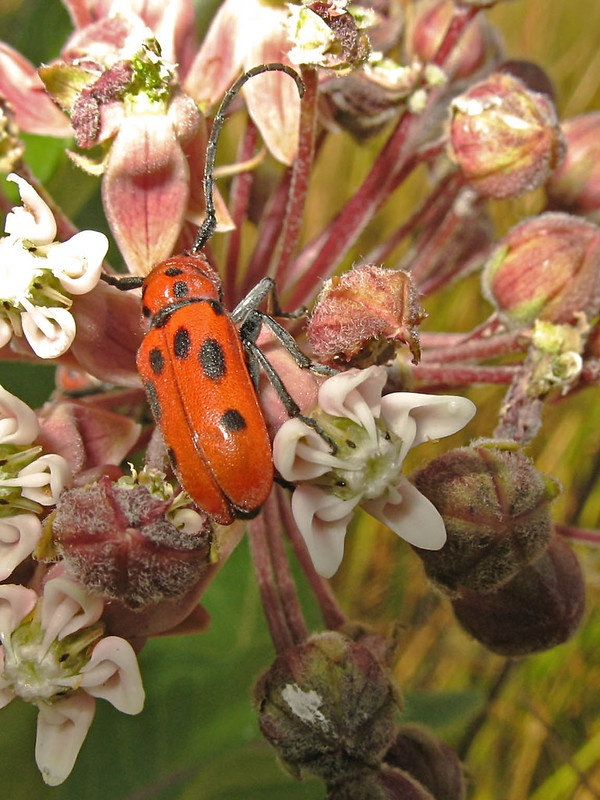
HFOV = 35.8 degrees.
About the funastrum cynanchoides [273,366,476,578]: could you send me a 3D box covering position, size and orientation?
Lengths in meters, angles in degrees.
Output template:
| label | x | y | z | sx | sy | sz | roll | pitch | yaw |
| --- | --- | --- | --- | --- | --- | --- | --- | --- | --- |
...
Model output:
| label | x | y | z | sx | sy | sz | roll | pitch | yaw |
| --- | --- | --- | --- | --- | --- | --- | --- | --- | --- |
| funastrum cynanchoides | 0.067 | 0.084 | 0.995 | 0.190 | 0.249 | 0.182 | 10 | 50 | 12 |
